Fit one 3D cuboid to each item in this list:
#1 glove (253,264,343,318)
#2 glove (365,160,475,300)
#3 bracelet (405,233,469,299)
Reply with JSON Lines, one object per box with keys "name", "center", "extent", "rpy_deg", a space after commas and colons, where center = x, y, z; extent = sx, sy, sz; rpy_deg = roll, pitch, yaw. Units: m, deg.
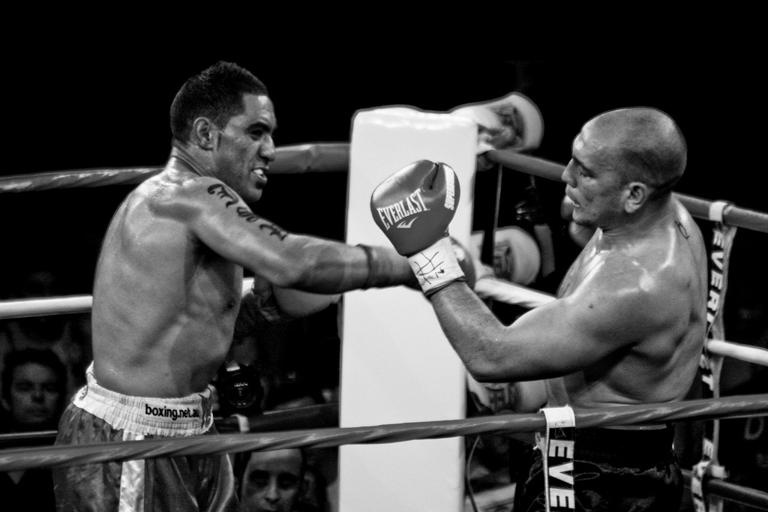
{"name": "glove", "center": [-0.361, 0.142, 3.596], "extent": [0.285, 0.122, 0.203], "rpy_deg": [4, 13, -19]}
{"name": "glove", "center": [0.174, -0.079, 3.073], "extent": [0.359, 0.432, 0.210], "rpy_deg": [-29, -5, 3]}
{"name": "bracelet", "center": [0.191, 0.054, 2.960], "extent": [0.083, 0.215, 0.257], "rpy_deg": [38, -28, -29]}
